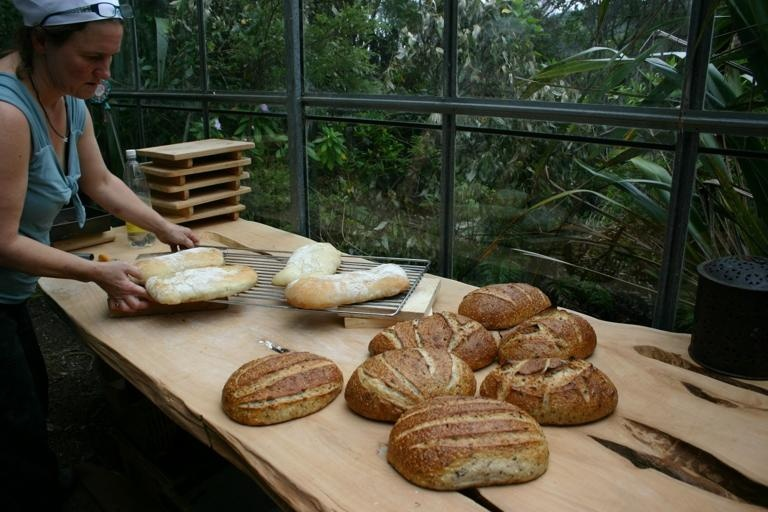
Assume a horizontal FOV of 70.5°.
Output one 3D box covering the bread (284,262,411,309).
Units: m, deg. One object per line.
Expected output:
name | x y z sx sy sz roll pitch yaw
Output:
bread | -0.157 0.140 2.432 0.438 0.105 0.227 -4 9 -23

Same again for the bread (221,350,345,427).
bread | -0.369 0.488 1.996 0.337 0.100 0.246 -7 38 -13

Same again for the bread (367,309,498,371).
bread | 0.232 0.323 2.184 0.426 0.165 0.230 0 26 9

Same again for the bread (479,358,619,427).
bread | 0.599 0.477 1.969 0.366 0.132 0.259 0 20 12

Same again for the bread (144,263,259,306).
bread | -0.826 0.072 2.430 0.343 0.078 0.218 -12 21 -31

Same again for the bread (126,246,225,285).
bread | -0.998 0.031 2.647 0.240 0.060 0.239 -14 18 -27

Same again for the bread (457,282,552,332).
bread | 0.556 0.202 2.382 0.318 0.105 0.208 -9 20 -36
